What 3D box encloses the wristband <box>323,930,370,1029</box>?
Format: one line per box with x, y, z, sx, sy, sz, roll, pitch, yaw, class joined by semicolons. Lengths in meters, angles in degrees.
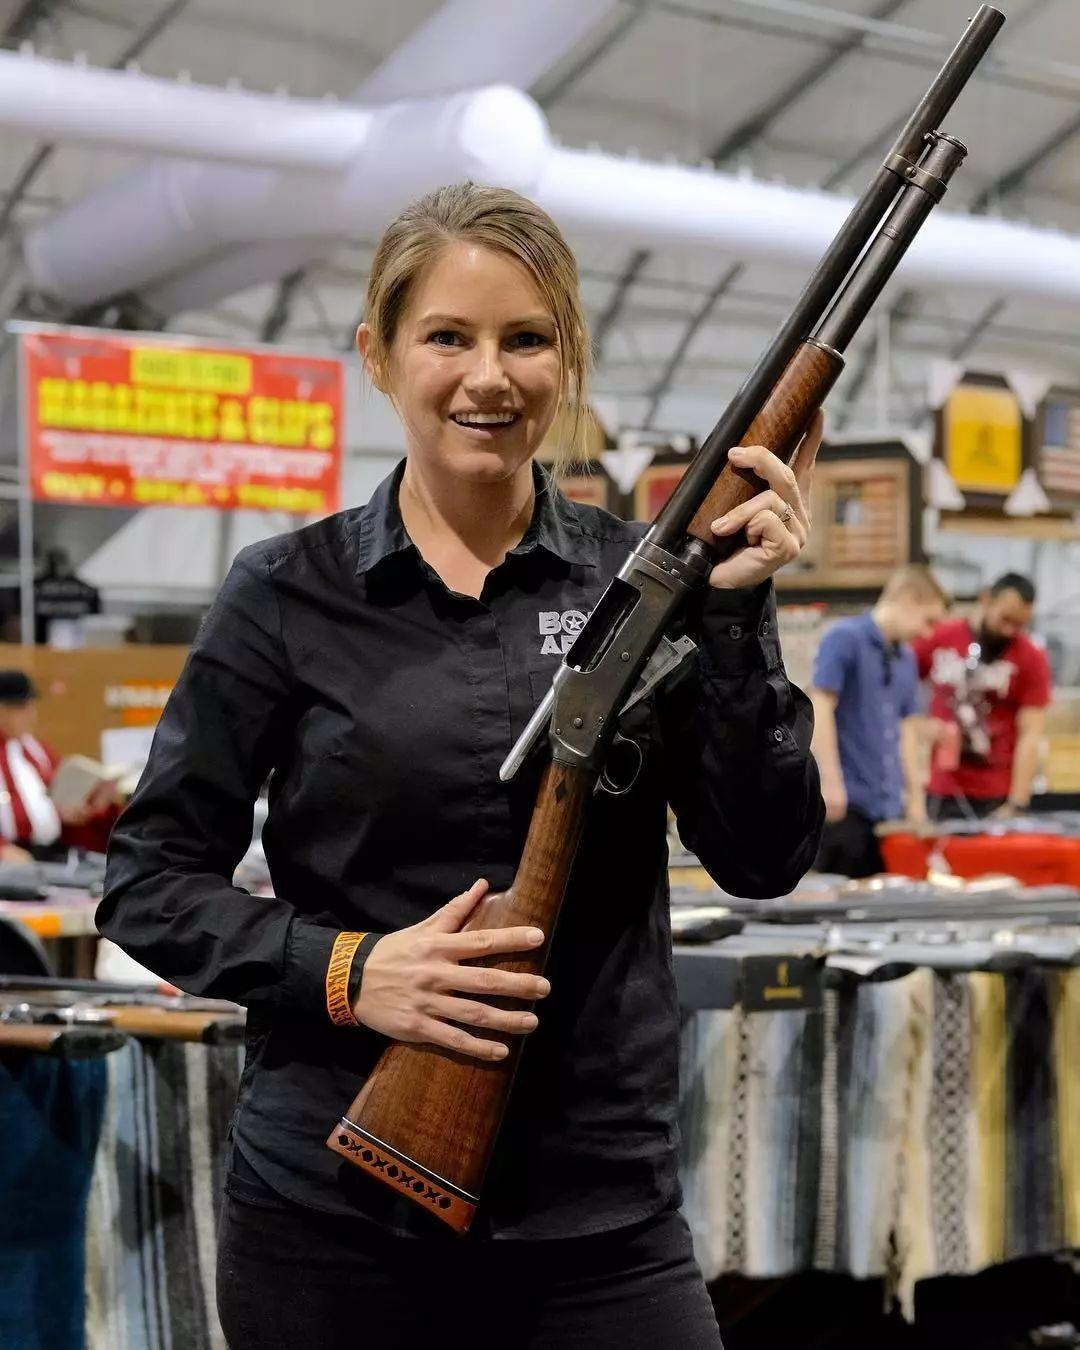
-0.165;0.259;1.326;0.033;0.077;0.089;2;-2;5;wristband
